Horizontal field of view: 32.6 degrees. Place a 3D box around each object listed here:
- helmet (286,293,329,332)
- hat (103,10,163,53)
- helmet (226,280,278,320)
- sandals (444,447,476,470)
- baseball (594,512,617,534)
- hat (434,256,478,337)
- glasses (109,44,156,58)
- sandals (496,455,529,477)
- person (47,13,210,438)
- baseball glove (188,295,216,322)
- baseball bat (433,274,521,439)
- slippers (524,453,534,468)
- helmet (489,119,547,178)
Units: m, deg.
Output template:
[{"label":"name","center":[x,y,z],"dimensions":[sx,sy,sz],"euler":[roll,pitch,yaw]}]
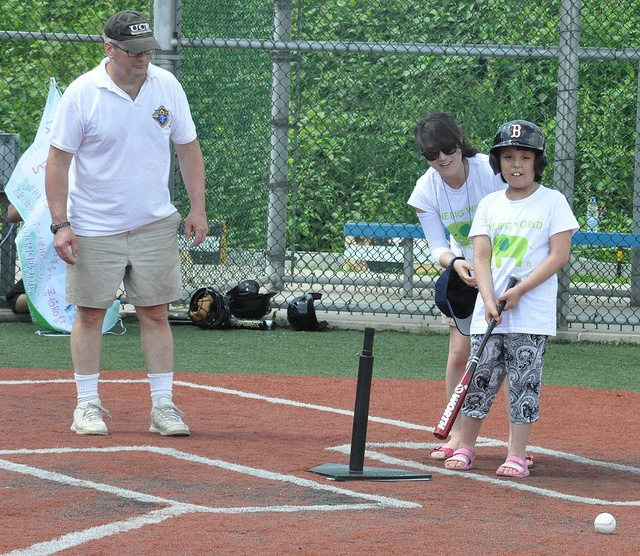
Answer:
[{"label":"helmet","center":[-0.065,0.276,8.697],"dimensions":[0.348,0.295,0.272],"euler":[1,-2,9]},{"label":"hat","center":[-0.888,-1.163,5.152],"dimensions":[0.260,0.218,0.223],"euler":[1,7,-10]},{"label":"helmet","center":[-0.522,0.180,8.718],"dimensions":[0.426,0.220,0.278],"euler":[2,0,1]},{"label":"sandals","center":[0.631,0.825,4.971],"dimensions":[0.100,0.066,0.242],"euler":[-1,-2,13]},{"label":"baseball","center":[1.057,0.917,4.100],"dimensions":[0.074,0.065,0.067],"euler":[-16,34,-1]},{"label":"hat","center":[0.631,0.091,5.089],"dimensions":[0.183,0.312,0.277],"euler":[4,17,44]},{"label":"glasses","center":[-0.887,-1.054,5.104],"dimensions":[0.109,0.026,0.108],"euler":[15,14,34]},{"label":"sandals","center":[0.853,0.835,4.853],"dimensions":[0.144,0.085,0.085],"euler":[4,7,10]},{"label":"person","center":[-0.953,-0.261,5.222],"dimensions":[0.703,2.003,0.383],"euler":[2,7,-11]},{"label":"baseball glove","center":[-0.928,0.246,8.471],"dimensions":[0.088,0.191,0.172],"euler":[37,-31,-28]},{"label":"baseball bat","center":[0.736,0.368,5.057],"dimensions":[0.115,1.037,0.082],"euler":[35,-31,-11]},{"label":"slippers","center":[0.961,0.846,5.061],"dimensions":[0.039,0.035,0.100],"euler":[2,6,10]},{"label":"helmet","center":[0.891,-0.576,4.954],"dimensions":[0.255,0.284,0.245],"euler":[4,7,8]}]
